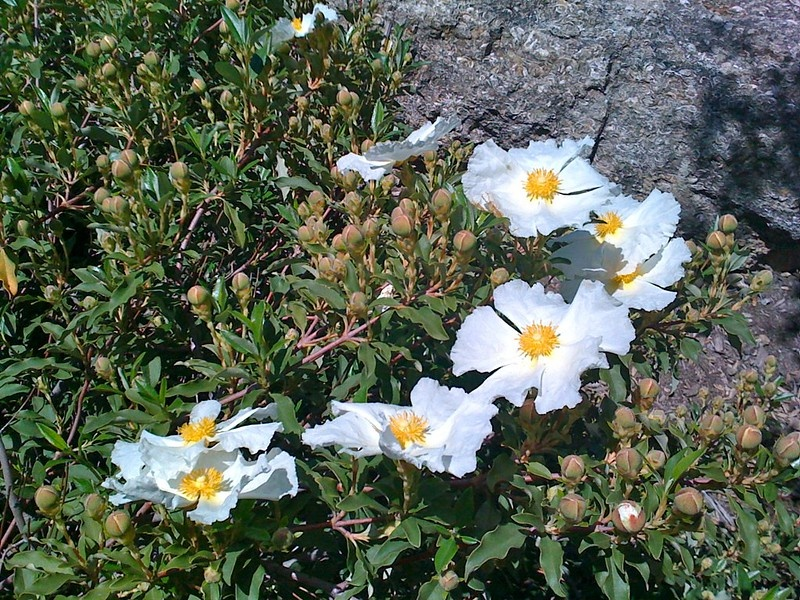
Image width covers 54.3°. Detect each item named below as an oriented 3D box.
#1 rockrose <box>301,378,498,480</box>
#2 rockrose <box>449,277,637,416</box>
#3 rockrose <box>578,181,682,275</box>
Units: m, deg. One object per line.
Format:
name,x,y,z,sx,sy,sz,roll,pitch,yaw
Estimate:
rockrose,-0.011,0.466,2.999,0.632,0.200,0.725,7,13,39
rockrose,0.564,0.158,3.129,0.674,0.236,0.666,-1,15,40
rockrose,1.028,-0.342,3.442,0.365,0.357,0.160,-39,83,-24
